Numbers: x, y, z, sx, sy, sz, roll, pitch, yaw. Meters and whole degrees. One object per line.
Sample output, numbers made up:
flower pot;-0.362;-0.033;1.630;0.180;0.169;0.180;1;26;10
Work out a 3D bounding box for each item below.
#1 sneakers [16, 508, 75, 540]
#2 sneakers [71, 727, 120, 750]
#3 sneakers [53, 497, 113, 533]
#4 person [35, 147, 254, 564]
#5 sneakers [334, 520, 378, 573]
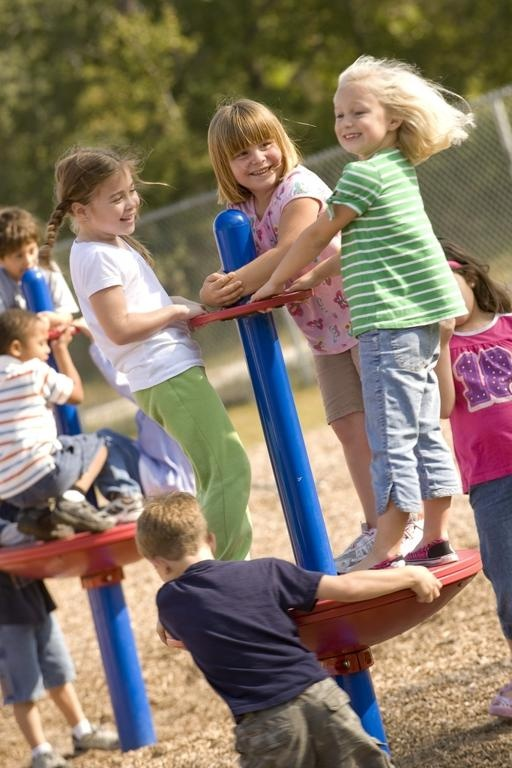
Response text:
sneakers;-0.634;0.424;2.860;0.156;0.050;0.109;3;11;-32
sneakers;-0.570;1.265;3.403;0.207;0.078;0.062;-4;41;-3
sneakers;-0.521;0.398;2.822;0.175;0.067;0.086;15;35;-7
person;-0.289;-0.100;2.657;0.335;0.921;0.758;-21;9;-4
sneakers;0.298;0.453;2.644;0.187;0.102;0.062;-25;-23;31
